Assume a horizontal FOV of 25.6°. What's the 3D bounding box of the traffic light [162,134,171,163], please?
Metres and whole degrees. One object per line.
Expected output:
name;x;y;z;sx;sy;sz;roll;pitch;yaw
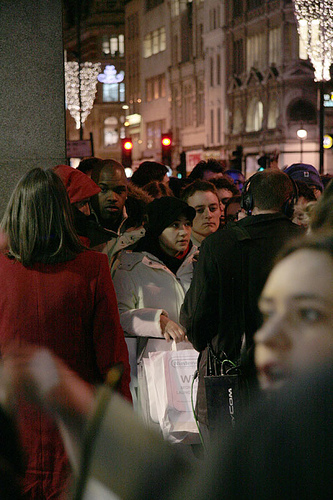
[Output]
traffic light;-0.037;-2.936;20.912;0.256;0.833;0.430;-2;5;0

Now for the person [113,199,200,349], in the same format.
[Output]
person;0.016;0.179;3.943;0.577;0.924;0.476;-1;-2;-26

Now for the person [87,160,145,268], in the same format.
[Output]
person;-0.298;-0.269;4.828;0.402;0.735;0.408;-7;14;-28

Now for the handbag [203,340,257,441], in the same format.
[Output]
handbag;0.230;0.524;2.711;0.168;0.397;0.092;-4;-5;15
